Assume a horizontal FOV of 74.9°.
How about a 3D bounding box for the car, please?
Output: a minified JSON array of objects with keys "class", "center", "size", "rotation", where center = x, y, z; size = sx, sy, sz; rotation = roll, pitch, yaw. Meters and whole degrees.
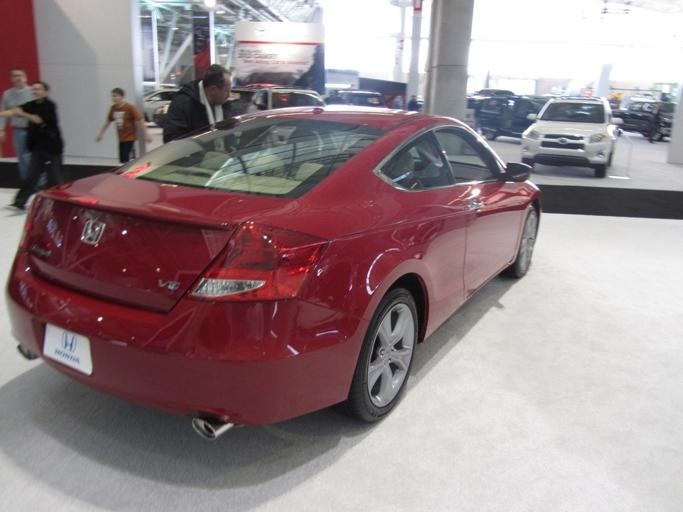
[{"class":"car","center":[0.136,-0.202,2.487],"size":[1.375,0.828,2.828],"rotation":[15,23,35]}]
